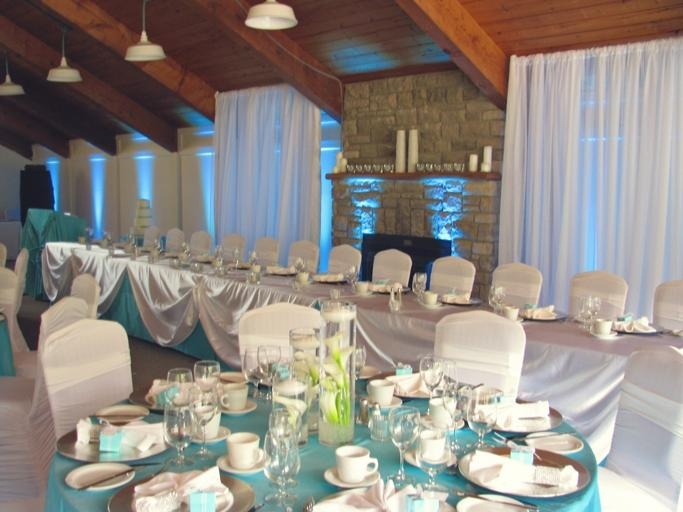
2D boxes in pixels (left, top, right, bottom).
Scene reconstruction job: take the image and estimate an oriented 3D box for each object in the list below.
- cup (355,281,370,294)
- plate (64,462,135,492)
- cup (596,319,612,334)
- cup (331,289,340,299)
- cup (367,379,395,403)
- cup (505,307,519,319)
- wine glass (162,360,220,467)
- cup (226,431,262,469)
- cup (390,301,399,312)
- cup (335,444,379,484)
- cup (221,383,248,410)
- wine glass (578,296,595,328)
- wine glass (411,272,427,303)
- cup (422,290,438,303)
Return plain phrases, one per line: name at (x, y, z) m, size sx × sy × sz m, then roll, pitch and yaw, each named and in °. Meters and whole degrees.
cup at (0.166, 0.247, 4.315) m, size 0.099 × 0.080 × 0.076 m, roll 5°, pitch -6°, yaw -44°
plate at (-0.787, 0.714, 1.790) m, size 0.216 × 0.030 × 0.124 m, roll -2°, pitch 10°, yaw -3°
cup at (1.511, 0.405, 3.173) m, size 0.069 × 0.080 × 0.081 m, roll -6°, pitch -15°, yaw 34°
cup at (-0.045, 0.264, 3.827) m, size 0.054 × 0.060 × 0.074 m, roll 0°, pitch -4°, yaw 9°
cup at (0.156, 0.529, 2.194) m, size 0.090 × 0.074 × 0.078 m, roll -2°, pitch 1°, yaw 26°
cup at (1.094, 0.359, 3.533) m, size 0.081 × 0.091 × 0.096 m, roll 0°, pitch -2°, yaw -10°
wine glass at (-0.532, 0.549, 1.958) m, size 0.198 × 0.266 × 0.333 m, roll -4°, pitch 10°, yaw -15°
cup at (-0.320, 0.637, 1.833) m, size 0.085 × 0.082 × 0.110 m, roll 0°, pitch 8°, yaw -24°
cup at (0.362, 0.349, 3.785) m, size 0.050 × 0.057 × 0.062 m, roll -2°, pitch -1°, yaw 17°
cup at (0.051, 0.662, 1.762) m, size 0.092 × 0.084 × 0.117 m, roll 2°, pitch 7°, yaw -30°
cup at (-0.438, 0.566, 2.224) m, size 0.077 × 0.083 × 0.105 m, roll -1°, pitch -7°, yaw 5°
wine glass at (1.510, 0.338, 3.387) m, size 0.080 × 0.191 × 0.081 m, roll 3°, pitch 11°, yaw 25°
wine glass at (0.573, 0.233, 3.986) m, size 0.074 × 0.223 × 0.228 m, roll -3°, pitch 10°, yaw -9°
cup at (0.625, 0.294, 3.880) m, size 0.097 × 0.086 × 0.083 m, roll 0°, pitch 10°, yaw 5°
